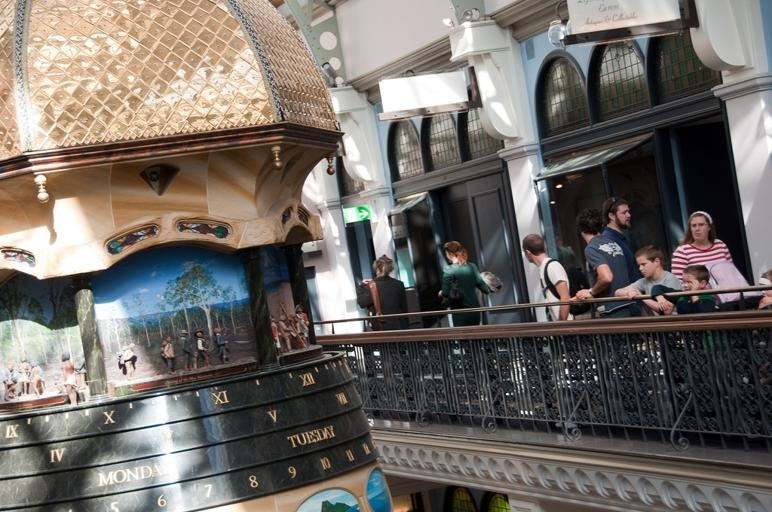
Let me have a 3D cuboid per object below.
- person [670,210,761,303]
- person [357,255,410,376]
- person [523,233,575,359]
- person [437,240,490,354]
[{"bbox_3d":[3.008,0.036,7.848,0.762,0.934,0.894,-10,4,-29],"label":"person"},{"bbox_3d":[0.004,0.841,11.092,0.631,1.576,0.931,-5,-6,-30],"label":"person"},{"bbox_3d":[1.820,0.438,8.768,0.415,1.367,0.610,-9,-6,11],"label":"person"},{"bbox_3d":[0.979,0.514,9.808,0.611,1.384,0.632,-8,-5,2],"label":"person"}]
